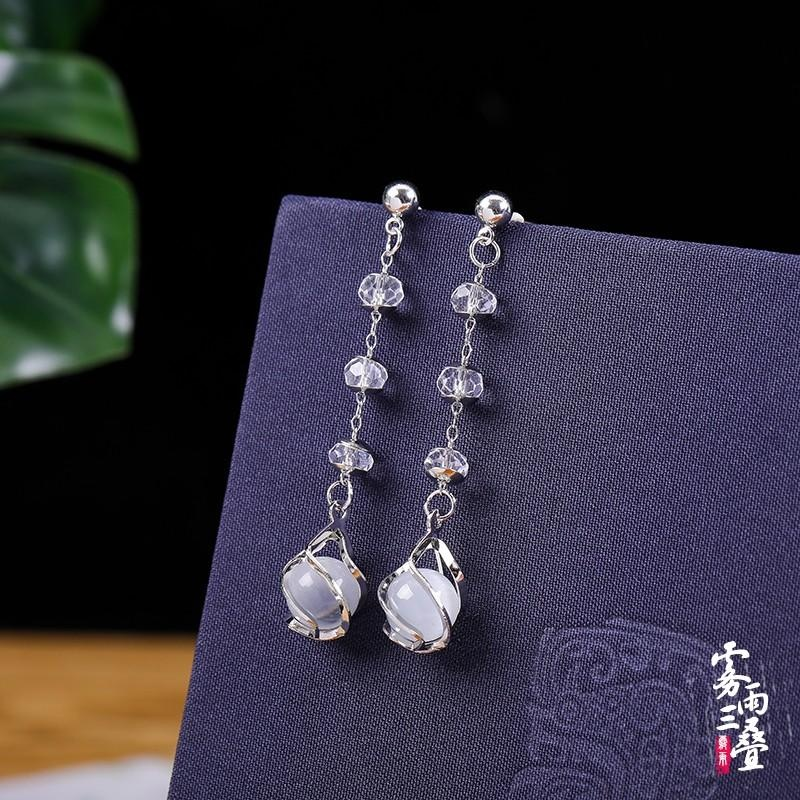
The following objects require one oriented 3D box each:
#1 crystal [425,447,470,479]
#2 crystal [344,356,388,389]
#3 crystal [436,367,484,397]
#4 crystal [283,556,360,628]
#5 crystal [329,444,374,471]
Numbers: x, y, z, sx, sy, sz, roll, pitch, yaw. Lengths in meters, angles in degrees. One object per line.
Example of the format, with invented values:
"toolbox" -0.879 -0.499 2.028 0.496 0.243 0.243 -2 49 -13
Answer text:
"crystal" 0.041 0.056 0.833 0.039 0.034 0.030 8 76 3
"crystal" -0.031 -0.027 0.849 0.030 0.016 0.030 -2 97 -4
"crystal" 0.054 -0.015 0.837 0.029 0.011 0.030 1 87 -1
"crystal" -0.067 0.163 0.812 0.062 0.033 0.063 -29 78 -6
"crystal" -0.043 0.050 0.839 0.027 0.012 0.028 2 109 7
